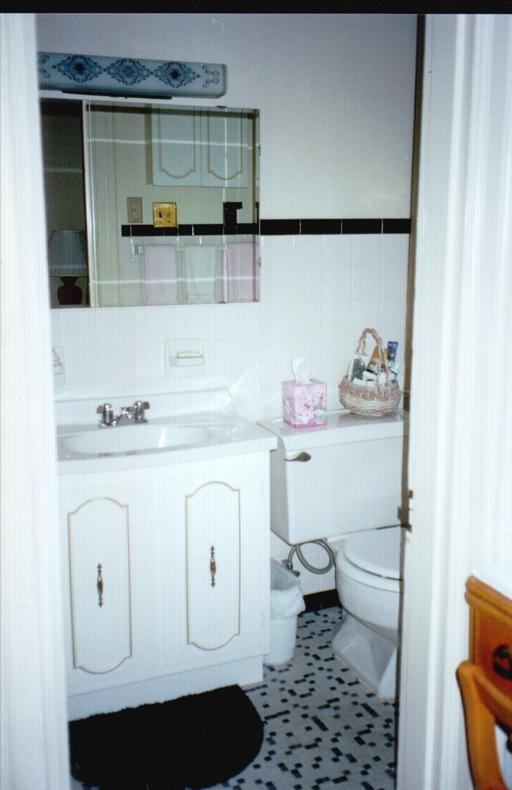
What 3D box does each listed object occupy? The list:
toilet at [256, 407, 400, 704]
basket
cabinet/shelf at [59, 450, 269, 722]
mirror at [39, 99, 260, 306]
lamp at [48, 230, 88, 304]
[{"bbox_3d":[0.169,0.261,1.273,0.316,0.561,0.415,-5,12,-17],"label":"toilet"},{"bbox_3d":[0.208,-0.043,1.119,0.092,0.167,0.092,-4,22,-10],"label":"basket"},{"bbox_3d":[-0.150,0.292,0.936,0.313,0.380,0.188,-9,18,-28],"label":"cabinet/shelf"},{"bbox_3d":[-0.136,-0.284,0.918,0.416,0.300,0.127,-12,14,-40],"label":"mirror"},{"bbox_3d":[-0.256,-0.172,0.825,0.057,0.099,0.059,-7,11,-28],"label":"lamp"}]
